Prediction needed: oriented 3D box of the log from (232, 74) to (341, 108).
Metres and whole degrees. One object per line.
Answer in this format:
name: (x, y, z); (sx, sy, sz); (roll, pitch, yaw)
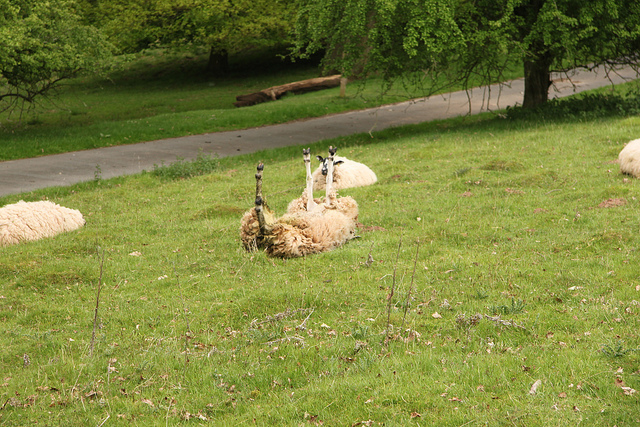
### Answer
log: (-1.780, -7.519, 64.703); (6.916, 0.905, 0.825); (-14, 21, -29)
